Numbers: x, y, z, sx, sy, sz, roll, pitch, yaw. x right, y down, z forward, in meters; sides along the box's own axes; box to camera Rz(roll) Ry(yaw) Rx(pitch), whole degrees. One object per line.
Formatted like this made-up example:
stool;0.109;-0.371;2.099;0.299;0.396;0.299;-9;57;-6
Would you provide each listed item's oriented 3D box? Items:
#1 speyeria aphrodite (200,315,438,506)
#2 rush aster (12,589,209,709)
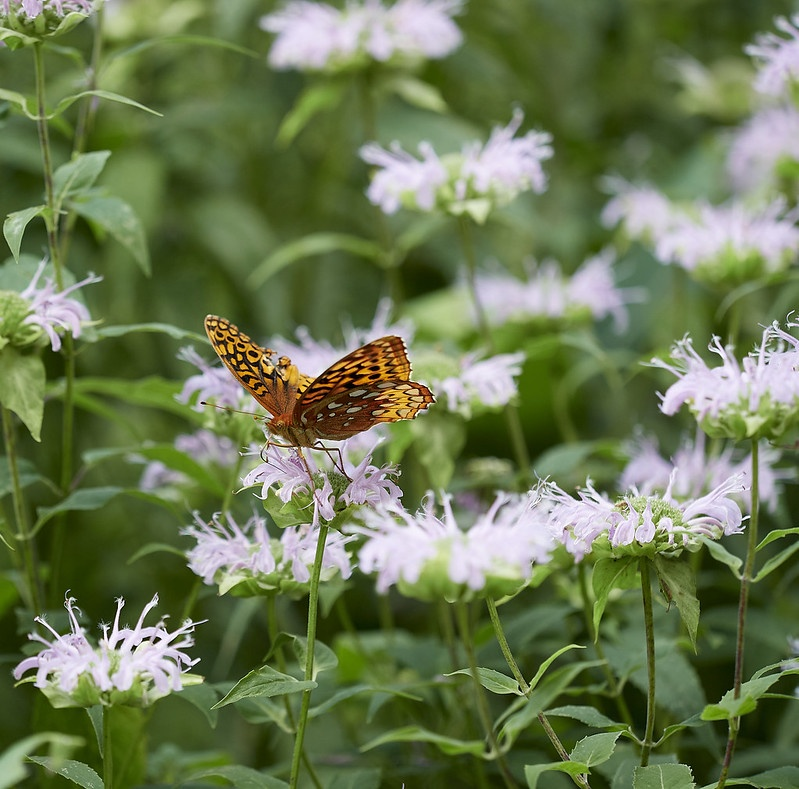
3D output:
speyeria aphrodite;-0.072;-0.020;1.020;0.167;0.128;0.148;-7;5;36
rush aster;-0.277;0.210;1.035;0.161;0.075;0.164;-2;-1;0
